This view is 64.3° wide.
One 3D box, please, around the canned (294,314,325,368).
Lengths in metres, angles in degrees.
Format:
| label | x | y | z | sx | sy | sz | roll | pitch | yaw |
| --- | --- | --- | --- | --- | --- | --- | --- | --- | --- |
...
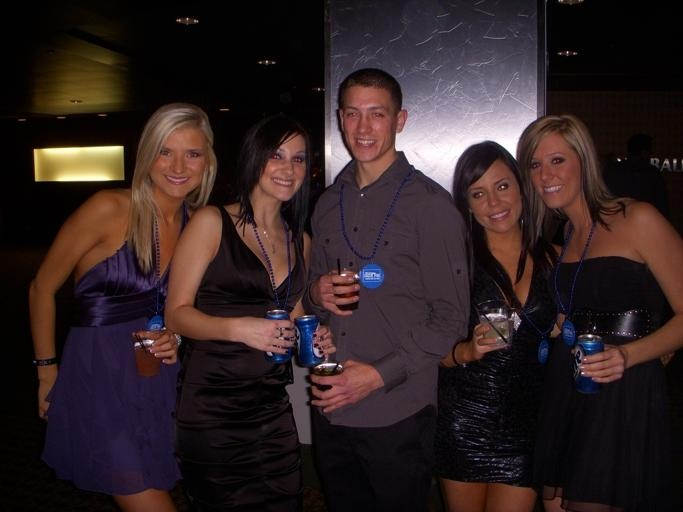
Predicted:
| label | x | y | z | sx | sy | sz | roll | pitch | yaw |
| --- | --- | --- | --- | --- | --- | --- | --- | --- | --- |
| canned | -0.177 | 0.455 | 2.879 | 0.126 | 0.287 | 0.164 | -5 | 8 | -38 |

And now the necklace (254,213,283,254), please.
| label | x | y | z | sx | sy | sz | roll | pitch | yaw |
| --- | --- | --- | --- | --- | --- | --- | --- | --- | --- |
| necklace | -0.409 | -0.121 | 2.980 | 0.133 | 0.179 | 0.025 | 7 | -30 | -33 |

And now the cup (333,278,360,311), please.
| label | x | y | z | sx | sy | sz | roll | pitch | yaw |
| --- | --- | --- | --- | --- | --- | --- | --- | --- | --- |
| cup | 0.032 | 0.205 | 2.875 | 0.135 | 0.189 | 0.106 | -1 | 7 | -9 |

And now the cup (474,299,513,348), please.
| label | x | y | z | sx | sy | sz | roll | pitch | yaw |
| --- | --- | --- | --- | --- | --- | --- | --- | --- | --- |
| cup | 0.812 | 0.388 | 3.050 | 0.239 | 0.245 | 0.235 | 0 | -15 | 0 |
